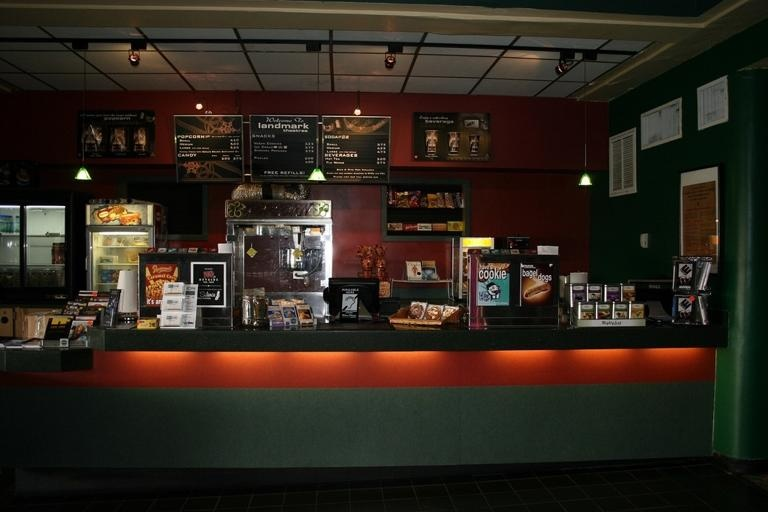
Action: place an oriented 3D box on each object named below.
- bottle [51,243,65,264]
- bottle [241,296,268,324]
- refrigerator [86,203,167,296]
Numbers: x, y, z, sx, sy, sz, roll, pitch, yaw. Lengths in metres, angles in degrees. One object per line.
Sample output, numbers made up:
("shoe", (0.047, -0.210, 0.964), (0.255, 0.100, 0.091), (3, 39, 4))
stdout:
("bottle", (-4.265, -0.035, 8.937), (0.263, 0.273, 0.246), (1, -2, -15))
("bottle", (-1.259, 0.529, 6.549), (0.248, 0.303, 0.122), (1, -3, -8))
("refrigerator", (-3.444, -0.002, 9.037), (0.981, 1.370, 0.868), (-2, 3, -16))
